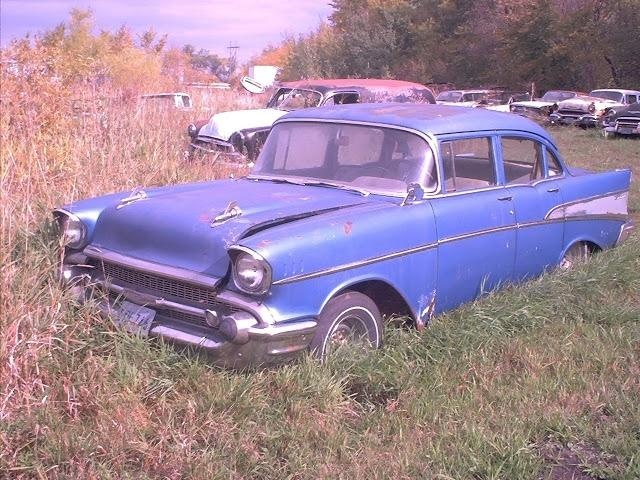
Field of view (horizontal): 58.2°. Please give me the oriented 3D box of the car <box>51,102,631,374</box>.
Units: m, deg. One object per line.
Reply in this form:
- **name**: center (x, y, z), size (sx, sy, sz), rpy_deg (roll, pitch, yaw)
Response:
- **car**: center (0.320, -0.292, 5.186), size (4.790, 1.803, 1.889), rpy_deg (-10, 16, -34)

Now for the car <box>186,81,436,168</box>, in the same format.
- **car**: center (-0.178, -2.379, 10.819), size (4.213, 1.484, 2.023), rpy_deg (-5, 9, -26)
